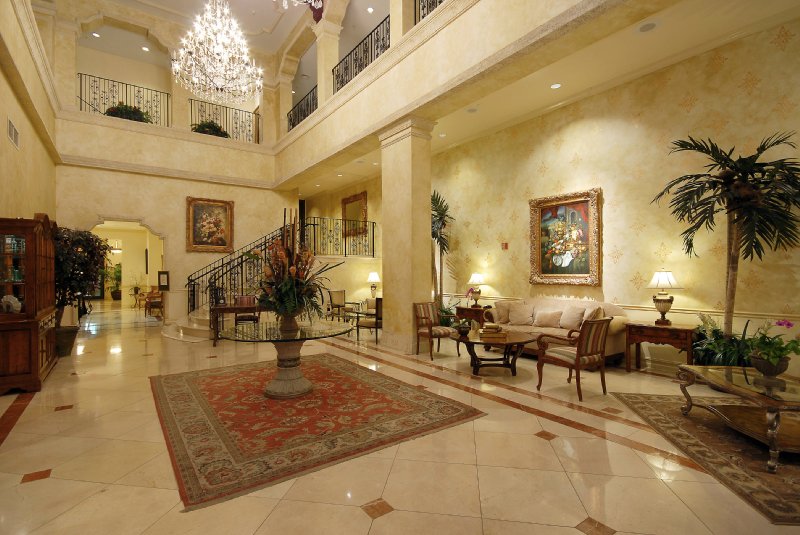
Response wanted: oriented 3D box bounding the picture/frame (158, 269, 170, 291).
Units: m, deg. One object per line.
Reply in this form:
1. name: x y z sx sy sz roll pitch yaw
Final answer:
1. picture/frame: -6.655 0.370 13.082 0.279 0.572 0.217 -6 16 -21

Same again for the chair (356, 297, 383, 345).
1. chair: -0.660 1.162 10.726 0.600 0.901 0.581 -3 -1 28

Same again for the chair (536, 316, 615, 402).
1. chair: 2.807 1.376 7.522 1.086 1.149 1.147 2 2 28

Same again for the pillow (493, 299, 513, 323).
1. pillow: 2.175 0.940 10.017 0.427 0.414 0.174 12 -18 1

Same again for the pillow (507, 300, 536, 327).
1. pillow: 2.456 0.871 9.557 0.460 0.448 0.186 -1 -36 19

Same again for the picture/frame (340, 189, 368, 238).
1. picture/frame: -1.542 -1.741 15.576 0.088 1.295 1.388 8 19 27

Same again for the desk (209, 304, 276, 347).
1. desk: -3.580 1.220 10.487 1.187 0.712 0.608 -4 -1 -11

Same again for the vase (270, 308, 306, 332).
1. vase: -1.774 0.834 7.293 0.436 0.357 0.444 0 -1 41

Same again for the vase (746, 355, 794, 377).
1. vase: 4.881 1.281 6.109 0.355 0.192 0.344 3 3 11

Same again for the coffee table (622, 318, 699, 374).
1. coffee table: 4.666 1.427 8.295 1.020 0.881 0.735 0 0 44

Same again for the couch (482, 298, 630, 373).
1. couch: 2.995 1.517 9.185 1.222 1.074 2.477 3 -3 -36

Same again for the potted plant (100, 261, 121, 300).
1. potted plant: -12.251 0.641 20.119 0.987 1.390 0.861 -3 -9 -2

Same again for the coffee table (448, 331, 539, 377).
1. coffee table: 1.762 1.564 8.381 1.452 0.629 1.451 -4 -13 45

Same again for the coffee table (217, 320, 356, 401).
1. coffee table: -1.760 1.269 7.409 1.553 0.691 1.484 -2 1 -27

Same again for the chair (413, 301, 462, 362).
1. chair: 0.690 1.176 9.258 0.924 1.008 0.885 -2 -3 28
